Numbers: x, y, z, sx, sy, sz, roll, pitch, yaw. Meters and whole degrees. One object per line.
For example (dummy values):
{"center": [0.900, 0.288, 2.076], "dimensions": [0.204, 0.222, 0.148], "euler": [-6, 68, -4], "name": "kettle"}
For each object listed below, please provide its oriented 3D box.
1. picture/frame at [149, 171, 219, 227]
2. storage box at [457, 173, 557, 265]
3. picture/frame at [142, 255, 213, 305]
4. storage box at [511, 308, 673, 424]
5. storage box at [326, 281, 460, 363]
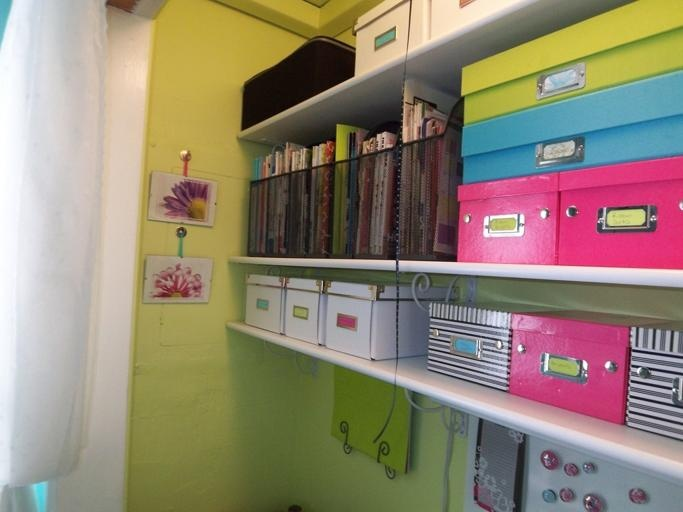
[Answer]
{"center": [-0.648, -0.232, 2.212], "dimensions": [0.028, 0.209, 0.297], "euler": [10, 4, 41], "name": "picture/frame"}
{"center": [0.418, -0.081, 1.305], "dimensions": [0.200, 0.156, 0.201], "euler": [2, -3, -40], "name": "storage box"}
{"center": [-0.700, 0.097, 2.165], "dimensions": [0.204, 0.150, 0.029], "euler": [2, -1, -35], "name": "picture/frame"}
{"center": [0.558, 0.247, 1.223], "dimensions": [0.230, 0.153, 0.231], "euler": [7, -7, -36], "name": "storage box"}
{"center": [0.119, 0.206, 1.735], "dimensions": [0.266, 0.177, 0.265], "euler": [4, -5, -38], "name": "storage box"}
